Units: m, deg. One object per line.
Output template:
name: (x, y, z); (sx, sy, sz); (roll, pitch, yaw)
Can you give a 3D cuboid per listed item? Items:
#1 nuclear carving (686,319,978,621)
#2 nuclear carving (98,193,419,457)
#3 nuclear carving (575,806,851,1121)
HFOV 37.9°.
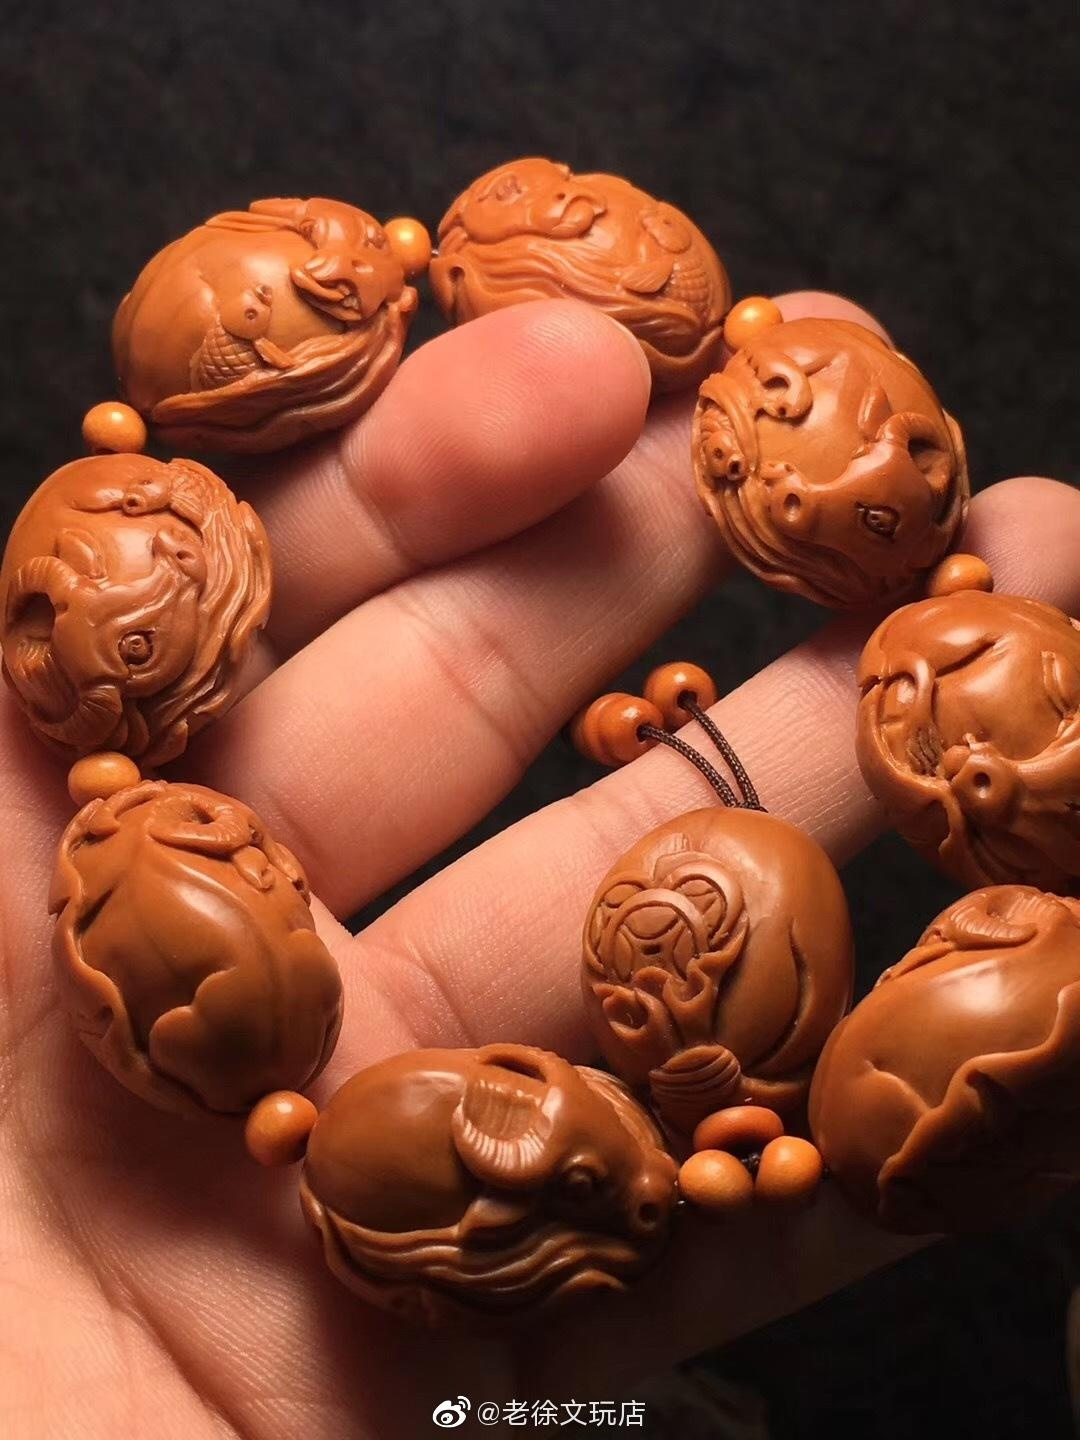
nuclear carving: (0.208, -0.180, 1.148); (0.189, 0.170, 0.176); (30, 49, 30)
nuclear carving: (-0.205, -0.290, 1.245); (0.248, 0.117, 0.165); (-27, 64, -9)
nuclear carving: (0.109, 0.152, 0.969); (0.177, 0.120, 0.182); (-3, 64, 12)
